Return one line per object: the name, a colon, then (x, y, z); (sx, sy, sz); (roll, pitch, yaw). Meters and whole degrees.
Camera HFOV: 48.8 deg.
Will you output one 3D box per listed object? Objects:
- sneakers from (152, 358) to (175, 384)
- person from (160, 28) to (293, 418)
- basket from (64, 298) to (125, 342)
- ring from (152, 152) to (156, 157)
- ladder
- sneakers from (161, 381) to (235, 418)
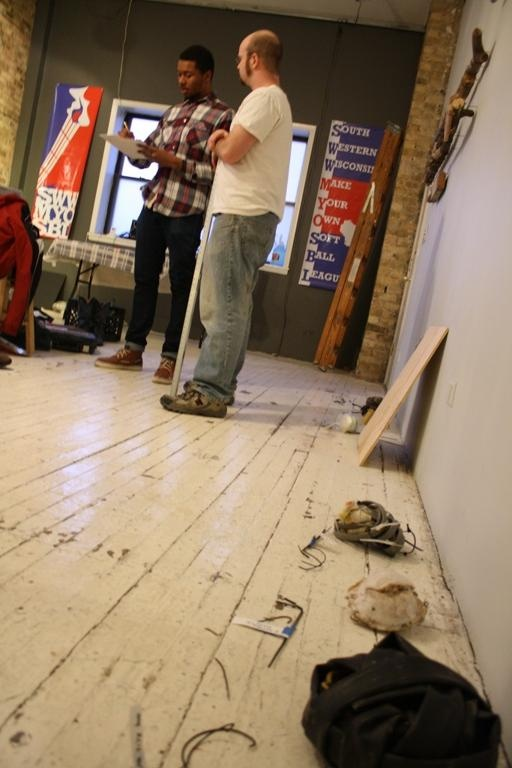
sneakers: (-0.511, -0.072, 3.161); (0.073, 0.097, 0.223); (3, 9, 3)
person: (-0.096, -0.697, 2.567); (0.366, 1.717, 0.523); (11, 9, 38)
basket: (-1.352, -0.556, 4.758); (0.459, 0.353, 0.430); (1, 14, -9)
ring: (-0.505, -1.144, 2.807); (0.009, 0.007, 0.037); (6, -14, -13)
ladder: (1.198, -1.591, 6.487); (0.308, 3.302, 0.308); (20, -19, -3)
sneakers: (-0.272, 0.091, 2.641); (0.368, 0.186, 0.129); (13, 9, -8)
